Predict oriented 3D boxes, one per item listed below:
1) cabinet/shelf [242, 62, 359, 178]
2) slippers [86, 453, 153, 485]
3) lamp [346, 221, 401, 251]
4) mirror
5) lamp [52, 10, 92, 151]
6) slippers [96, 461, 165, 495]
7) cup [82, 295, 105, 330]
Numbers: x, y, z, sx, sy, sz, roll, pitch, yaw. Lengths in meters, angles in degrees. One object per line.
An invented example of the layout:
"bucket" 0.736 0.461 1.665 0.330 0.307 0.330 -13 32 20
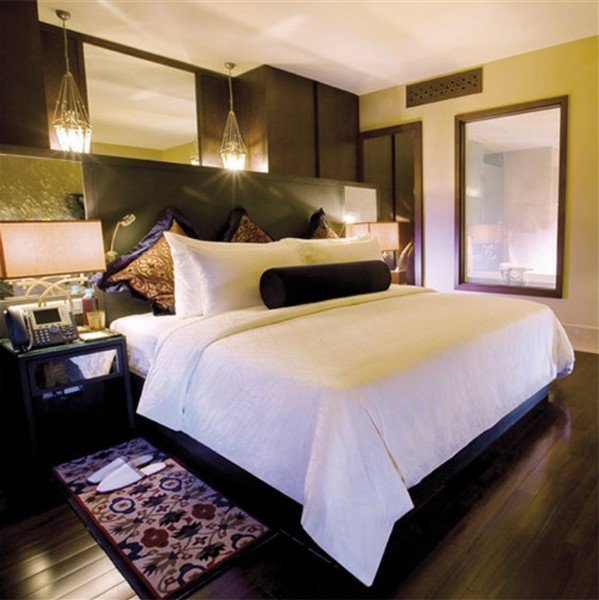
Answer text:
"cabinet/shelf" -0.040 -1.875 4.912 0.392 1.231 1.225 -4 3 40
"slippers" -0.813 0.734 2.149 0.083 0.066 0.245 0 0 30
"lamp" 0.668 -0.618 4.480 0.351 0.264 0.347 -6 6 -43
"mirror" -1.408 -1.799 4.223 0.054 0.998 1.212 10 14 32
"lamp" -1.722 -1.617 3.569 0.180 0.944 0.292 0 11 6
"slippers" -0.754 0.744 2.061 0.088 0.038 0.184 -2 6 36
"cup" -1.086 0.062 2.509 0.089 0.190 0.168 -4 -5 -12
